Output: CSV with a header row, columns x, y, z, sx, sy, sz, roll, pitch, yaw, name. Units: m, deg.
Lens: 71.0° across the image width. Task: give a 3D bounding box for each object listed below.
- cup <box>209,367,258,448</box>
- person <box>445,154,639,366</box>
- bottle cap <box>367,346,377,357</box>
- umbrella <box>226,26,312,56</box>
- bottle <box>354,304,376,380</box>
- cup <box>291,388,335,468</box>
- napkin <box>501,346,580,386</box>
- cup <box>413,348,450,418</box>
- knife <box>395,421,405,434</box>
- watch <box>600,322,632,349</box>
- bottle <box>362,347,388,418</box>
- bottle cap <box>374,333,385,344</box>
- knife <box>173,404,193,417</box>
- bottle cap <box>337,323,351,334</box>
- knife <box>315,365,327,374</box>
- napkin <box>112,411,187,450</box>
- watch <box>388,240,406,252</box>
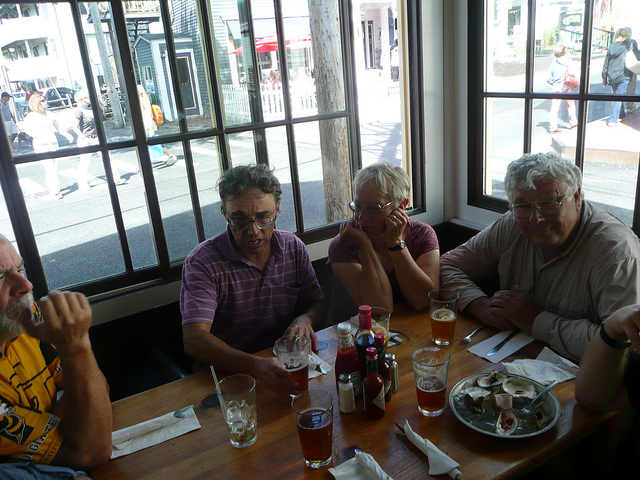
x,y,z,sx,sy,sz,roll,pitch,yaw,name
-0.277,0.542,1.523,0.138,0.201,0.223,-12,23,-15,cup
1.040,0.095,2.028,0.495,0.657,0.856,-13,22,-31,person
0.165,0.349,1.424,0.025,0.032,0.037,0,22,13,bottle cap
-0.284,-1.205,2.715,0.150,0.141,0.600,15,29,41,umbrella
0.170,0.373,1.571,0.072,0.243,0.070,-6,6,1,bottle
-0.015,0.598,1.410,0.145,0.208,0.140,-5,-10,-1,cup
0.831,0.475,1.685,0.266,0.032,0.180,-13,23,-19,napkin
0.387,0.497,1.554,0.124,0.199,0.128,-2,8,0,cup
0.265,0.612,1.474,0.012,0.022,0.056,-12,23,-16,knife
0.997,0.326,1.505,0.069,0.028,0.068,-15,45,-12,watch
0.186,0.463,1.486,0.082,0.293,0.057,-12,23,-14,bottle
0.200,0.330,1.505,0.026,0.020,0.027,3,6,42,bottle cap
-0.494,0.606,1.607,0.043,0.008,0.021,-10,28,-28,knife
0.084,0.293,1.513,0.033,0.033,0.033,4,17,19,bottle cap
0.005,0.509,1.759,0.025,0.006,0.061,-22,27,-35,knife
-0.588,0.648,1.584,0.267,0.042,0.086,-15,31,-39,napkin
0.389,0.041,2.282,0.076,0.048,0.078,-10,14,29,watch
